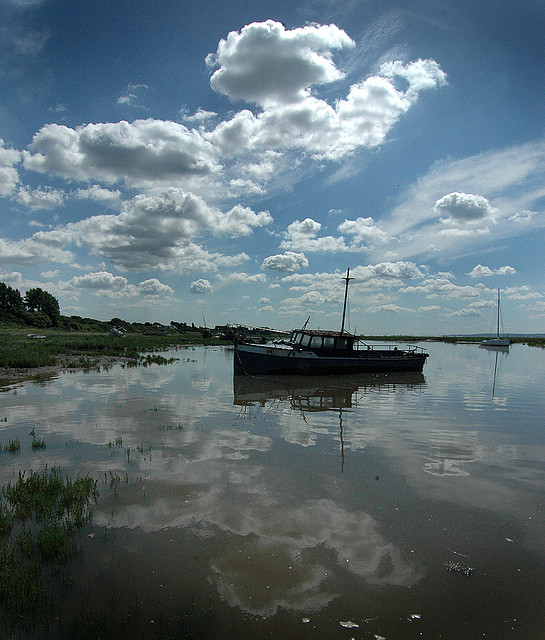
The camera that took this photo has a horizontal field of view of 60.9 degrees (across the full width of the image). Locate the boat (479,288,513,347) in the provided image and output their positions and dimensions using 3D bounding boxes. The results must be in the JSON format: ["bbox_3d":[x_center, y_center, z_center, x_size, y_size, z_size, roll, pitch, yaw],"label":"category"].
[{"bbox_3d":[48.276,-0.786,98.636,2.107,12.151,8.036,6,-5,-20],"label":"boat"}]

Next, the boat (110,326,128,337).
[{"bbox_3d":[-42.055,2.862,127.116,3.079,1.300,2.930,14,8,38],"label":"boat"}]
